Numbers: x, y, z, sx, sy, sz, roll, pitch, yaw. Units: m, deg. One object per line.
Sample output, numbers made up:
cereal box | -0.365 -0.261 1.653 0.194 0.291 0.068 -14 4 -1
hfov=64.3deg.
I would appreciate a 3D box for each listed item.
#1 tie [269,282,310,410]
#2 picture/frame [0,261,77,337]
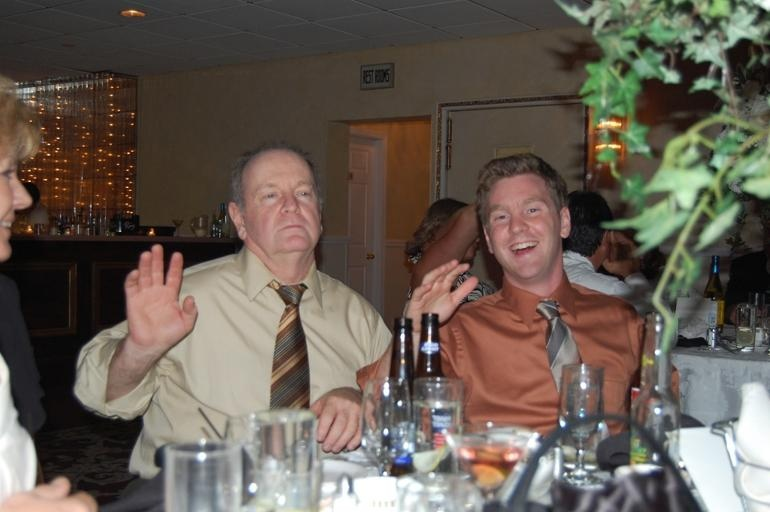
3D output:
tie | -0.334 0.299 2.150 0.139 0.417 0.267 0 -2 -11
picture/frame | -2.449 0.294 4.321 0.046 0.671 0.670 -7 -4 35
